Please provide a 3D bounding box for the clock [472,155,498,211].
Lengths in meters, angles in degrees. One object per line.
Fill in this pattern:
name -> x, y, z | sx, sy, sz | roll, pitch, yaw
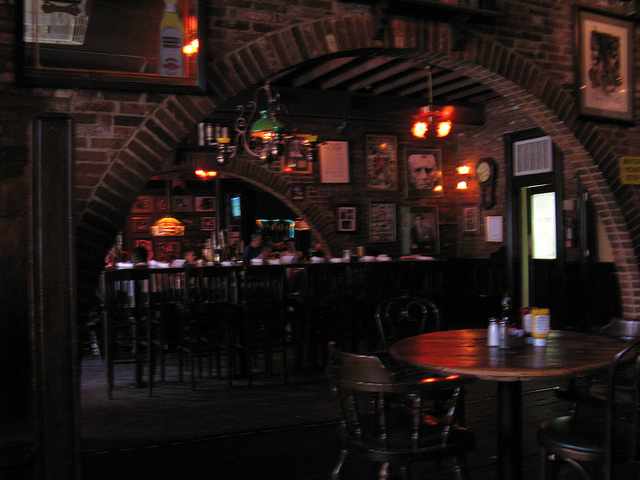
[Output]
clock -> 2.367, -0.777, 11.740 | 0.185, 0.712, 0.578 | -5, 9, -4

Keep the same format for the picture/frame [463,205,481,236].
picture/frame -> 2.212, -0.277, 12.088 | 0.056, 0.451, 0.497 | 6, -6, -20

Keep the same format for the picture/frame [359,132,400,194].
picture/frame -> 0.903, -1.088, 12.049 | 0.549, 0.806, 0.106 | -9, 11, -30

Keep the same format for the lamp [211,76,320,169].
lamp -> -0.686, -1.282, 10.197 | 1.487, 0.768, 1.448 | -1, 3, -18

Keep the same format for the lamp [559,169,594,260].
lamp -> 3.048, -0.250, 9.879 | 0.300, 0.977, 0.675 | -5, 10, -4

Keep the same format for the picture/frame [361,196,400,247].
picture/frame -> 0.894, -0.243, 12.066 | 0.536, 0.603, 0.106 | -7, 11, -25

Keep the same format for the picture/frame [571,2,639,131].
picture/frame -> 2.453, -1.476, 7.228 | 0.775, 0.959, 0.204 | -10, 12, -36
